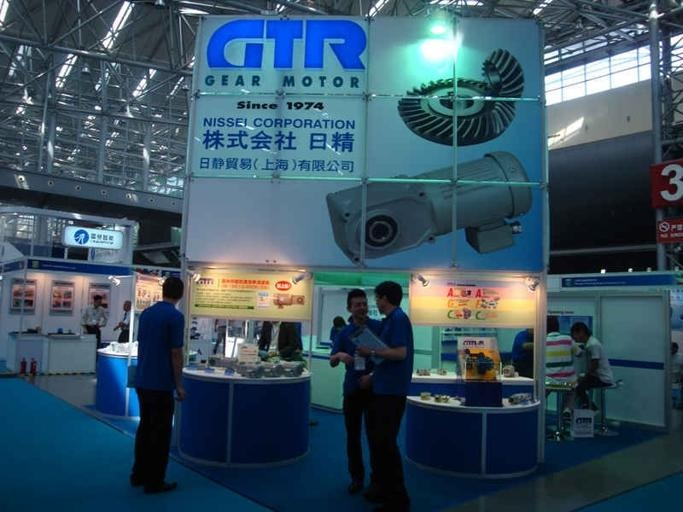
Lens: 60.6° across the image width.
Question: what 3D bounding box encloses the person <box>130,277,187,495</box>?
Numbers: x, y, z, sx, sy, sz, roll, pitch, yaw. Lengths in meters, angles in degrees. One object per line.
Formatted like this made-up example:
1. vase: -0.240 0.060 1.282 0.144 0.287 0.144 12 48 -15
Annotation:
1. person: -1.716 1.295 5.506 0.502 1.772 0.278 2 -6 0

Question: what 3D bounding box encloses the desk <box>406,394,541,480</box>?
1. desk: 1.501 1.989 6.780 1.487 0.752 1.423 3 -4 -23

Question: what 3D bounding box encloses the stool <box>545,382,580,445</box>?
1. stool: 2.988 2.049 7.943 0.382 0.694 1.175 0 -5 21

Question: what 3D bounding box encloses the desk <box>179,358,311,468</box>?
1. desk: -1.102 1.792 6.954 1.590 0.955 1.599 1 -3 23
